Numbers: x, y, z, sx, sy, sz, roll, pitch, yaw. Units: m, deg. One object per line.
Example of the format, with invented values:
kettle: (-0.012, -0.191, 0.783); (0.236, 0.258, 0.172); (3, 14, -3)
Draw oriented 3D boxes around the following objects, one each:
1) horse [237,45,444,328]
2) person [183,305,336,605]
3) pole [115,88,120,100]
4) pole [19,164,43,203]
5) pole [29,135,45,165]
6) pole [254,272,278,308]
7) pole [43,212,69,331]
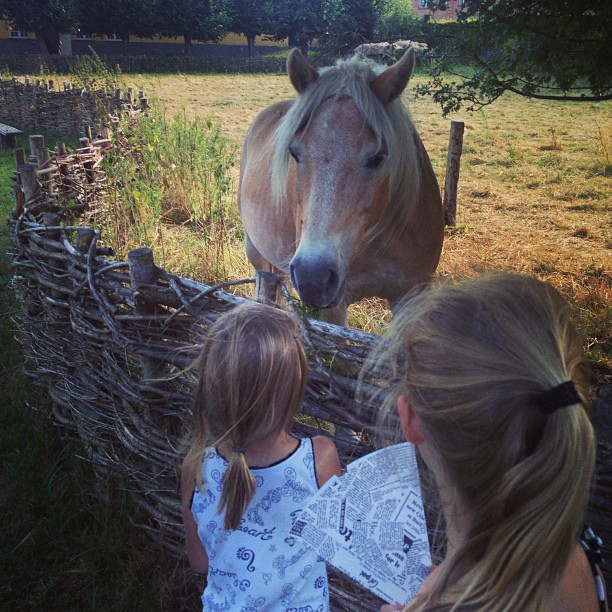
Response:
horse: (0.212, -0.617, 3.363); (1.056, 1.620, 1.810); (-1, 25, -5)
person: (-0.146, 0.545, 1.886); (0.491, 0.987, 0.457); (-5, 25, -14)
pole: (-3.432, -3.910, 10.810); (0.081, 0.180, 0.466); (-8, 27, -20)
pole: (-2.180, -0.968, 4.688); (0.158, 0.455, 0.138); (-9, 57, -25)
pole: (-2.431, -1.470, 5.370); (0.114, 0.189, 0.227); (-10, 27, -25)
pole: (-0.182, -0.063, 2.550); (0.090, 0.124, 0.151); (8, 25, 13)
pole: (-1.673, -0.297, 3.770); (0.103, 0.853, 0.110); (0, -3, 42)
